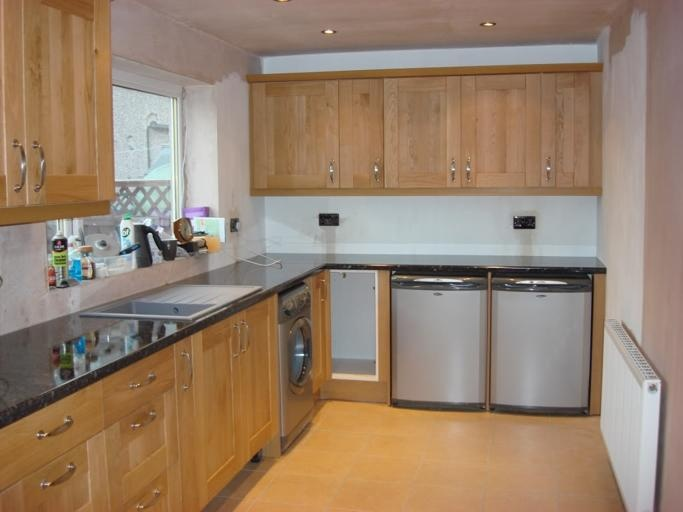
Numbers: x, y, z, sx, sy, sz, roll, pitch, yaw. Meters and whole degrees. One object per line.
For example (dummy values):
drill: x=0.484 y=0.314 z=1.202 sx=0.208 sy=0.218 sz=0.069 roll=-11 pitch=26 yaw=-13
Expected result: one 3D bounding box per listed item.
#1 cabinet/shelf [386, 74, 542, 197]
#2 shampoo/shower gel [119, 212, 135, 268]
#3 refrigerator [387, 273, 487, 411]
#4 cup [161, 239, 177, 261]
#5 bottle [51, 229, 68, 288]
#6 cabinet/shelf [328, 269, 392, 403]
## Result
cabinet/shelf: x=0.939 y=-0.922 z=4.107 sx=0.843 sy=0.630 sz=0.306 roll=0 pitch=4 yaw=6
shampoo/shower gel: x=-1.238 y=-0.057 z=3.227 sx=0.089 sy=0.363 sz=0.086 roll=-2 pitch=-30 yaw=-21
refrigerator: x=0.745 y=0.574 z=4.311 sx=0.665 sy=0.993 sz=0.773 roll=1 pitch=11 yaw=11
cup: x=-1.054 y=-0.026 z=3.412 sx=0.097 sy=0.187 sz=0.100 roll=1 pitch=3 yaw=0
bottle: x=-1.362 y=0.020 z=2.687 sx=0.073 sy=0.244 sz=0.121 roll=-6 pitch=11 yaw=-28
cabinet/shelf: x=0.096 y=0.603 z=4.139 sx=0.516 sy=1.013 sz=0.206 roll=-1 pitch=10 yaw=-3
